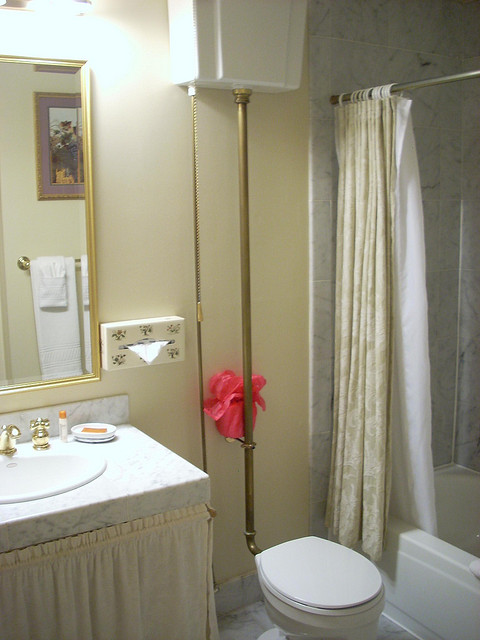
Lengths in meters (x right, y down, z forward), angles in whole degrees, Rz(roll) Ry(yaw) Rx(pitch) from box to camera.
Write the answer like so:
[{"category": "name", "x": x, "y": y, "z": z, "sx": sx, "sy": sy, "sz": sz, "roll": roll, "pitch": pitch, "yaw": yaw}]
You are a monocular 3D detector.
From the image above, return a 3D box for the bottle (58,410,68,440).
[{"category": "bottle", "x": -0.504, "y": 0.291, "z": 1.634, "sx": 0.028, "sy": 0.097, "sz": 0.103, "roll": -2, "pitch": 10, "yaw": -17}]

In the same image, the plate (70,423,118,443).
[{"category": "plate", "x": -0.417, "y": 0.319, "z": 1.646, "sx": 0.134, "sy": 0.028, "sz": 0.120, "roll": 0, "pitch": 9, "yaw": -2}]
